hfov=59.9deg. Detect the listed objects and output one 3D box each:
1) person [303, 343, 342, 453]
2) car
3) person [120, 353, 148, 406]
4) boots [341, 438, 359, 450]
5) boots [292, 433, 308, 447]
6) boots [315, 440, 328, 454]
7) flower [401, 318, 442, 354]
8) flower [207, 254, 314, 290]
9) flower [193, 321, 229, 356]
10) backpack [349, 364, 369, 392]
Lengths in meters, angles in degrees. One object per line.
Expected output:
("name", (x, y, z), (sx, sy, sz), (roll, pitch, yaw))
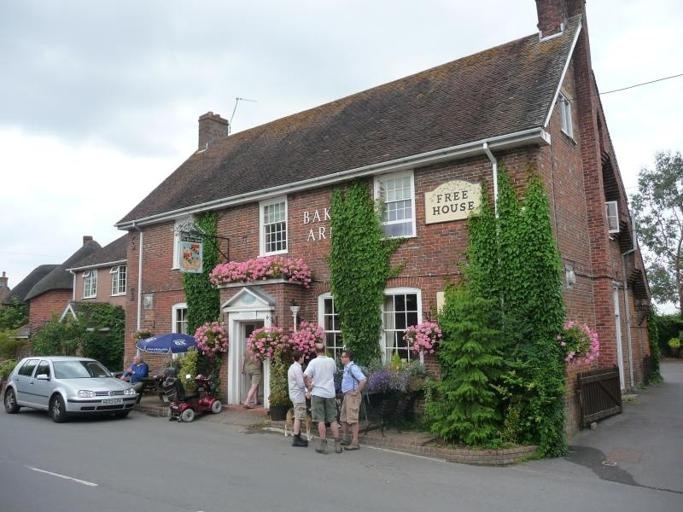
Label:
("person", (-0.424, 3.243, 13.631), (0.804, 2.442, 0.499), (6, -13, -32))
("car", (-8.460, 4.026, 18.135), (4.622, 1.914, 1.793), (-10, -14, 32))
("person", (-7.094, 4.201, 20.328), (0.689, 1.578, 0.879), (-4, -4, 36))
("boots", (0.216, 4.401, 13.812), (0.403, 0.201, 0.445), (-1, -12, -1))
("boots", (-0.966, 4.336, 14.025), (0.404, 0.409, 0.211), (2, -4, -25))
("boots", (-0.475, 4.295, 13.410), (0.208, 0.418, 0.413), (1, -1, -17))
("flower", (2.139, 2.094, 15.386), (0.813, 0.545, 0.821), (0, -2, 42))
("flower", (-2.485, 0.536, 18.341), (3.245, 0.976, 0.752), (-7, -13, 24))
("flower", (-4.165, 2.761, 19.290), (1.083, 1.254, 1.066), (10, 10, 42))
("backpack", (0.411, 2.803, 13.599), (0.200, 0.609, 0.429), (-3, 5, -33))
